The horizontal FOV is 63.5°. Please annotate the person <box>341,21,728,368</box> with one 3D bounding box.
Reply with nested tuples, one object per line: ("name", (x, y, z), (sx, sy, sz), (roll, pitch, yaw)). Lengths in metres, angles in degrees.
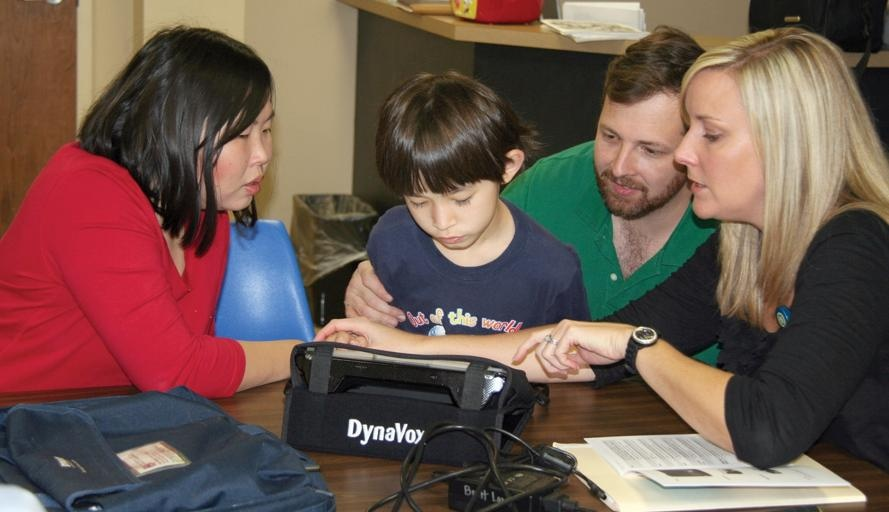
("person", (0.366, -0.215, 2.471), (0.787, 1.548, 0.559), (37, 43, 22))
